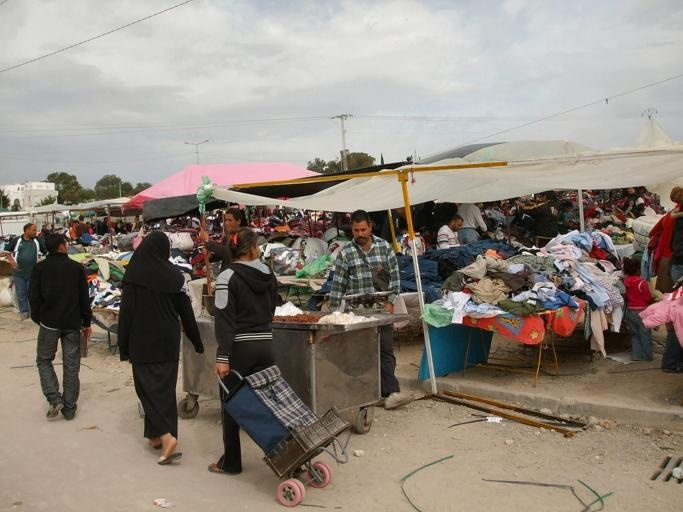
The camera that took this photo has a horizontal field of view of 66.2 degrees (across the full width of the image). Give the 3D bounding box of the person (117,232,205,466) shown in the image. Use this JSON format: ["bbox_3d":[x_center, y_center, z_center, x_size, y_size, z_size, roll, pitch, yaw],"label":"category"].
[{"bbox_3d":[-1.676,0.852,4.910,0.712,2.153,0.444,-4,7,-23],"label":"person"}]

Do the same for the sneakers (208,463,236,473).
[{"bbox_3d":[-1.051,1.893,4.681,0.243,0.062,0.093,4,-2,12],"label":"sneakers"}]

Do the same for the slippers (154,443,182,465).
[{"bbox_3d":[-1.604,1.870,4.942,0.227,0.121,0.242,-3,5,-17],"label":"slippers"}]

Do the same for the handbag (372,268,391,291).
[{"bbox_3d":[0.437,0.261,5.723,0.202,0.232,0.106,1,-11,-22],"label":"handbag"}]

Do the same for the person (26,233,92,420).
[{"bbox_3d":[-3.178,0.934,6.037,0.600,1.838,0.464,-5,7,-29],"label":"person"}]

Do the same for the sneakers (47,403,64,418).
[{"bbox_3d":[-3.274,1.768,6.013,0.166,0.181,0.239,-5,7,-32],"label":"sneakers"}]

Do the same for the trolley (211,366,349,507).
[{"bbox_3d":[-0.150,1.432,4.357,1.364,0.982,0.745,-3,-3,24],"label":"trolley"}]
